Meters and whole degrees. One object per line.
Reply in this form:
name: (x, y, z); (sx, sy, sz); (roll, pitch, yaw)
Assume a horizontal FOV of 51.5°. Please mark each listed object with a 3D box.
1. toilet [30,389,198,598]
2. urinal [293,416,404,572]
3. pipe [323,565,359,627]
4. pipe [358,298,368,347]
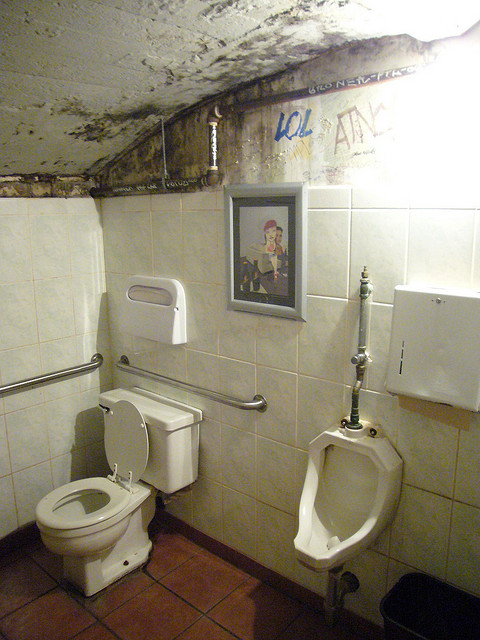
toilet: (-0.595, 0.775, 2.214); (0.505, 0.722, 0.653); (10, 13, 37)
urinal: (0.316, 0.573, 1.573); (0.306, 0.427, 0.300); (5, 11, 38)
pipe: (0.332, 0.971, 1.737); (0.159, 0.230, 0.157); (-4, -9, 6)
pipe: (0.383, 0.010, 1.548); (0.023, 0.156, 0.026); (0, 9, 13)
